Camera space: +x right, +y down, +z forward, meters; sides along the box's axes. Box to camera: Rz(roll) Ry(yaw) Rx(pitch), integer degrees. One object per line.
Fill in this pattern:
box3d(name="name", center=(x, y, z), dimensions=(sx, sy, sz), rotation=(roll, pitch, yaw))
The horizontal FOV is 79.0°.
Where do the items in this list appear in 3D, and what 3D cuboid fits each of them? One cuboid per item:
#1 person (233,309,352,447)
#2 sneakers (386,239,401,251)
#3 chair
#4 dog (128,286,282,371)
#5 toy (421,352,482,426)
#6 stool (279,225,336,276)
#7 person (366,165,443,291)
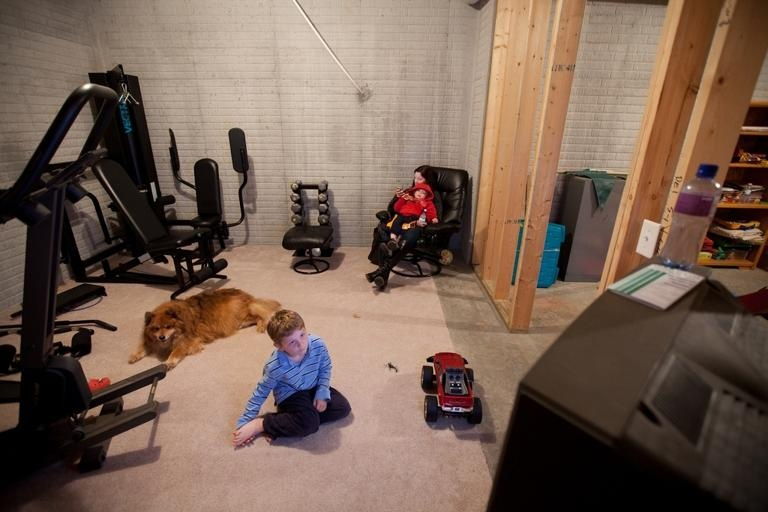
box3d(name="person", center=(-0.773, 1.053, 3.854), dimensions=(0.498, 0.801, 0.862), rotation=(15, 25, 40))
box3d(name="sneakers", center=(0.126, -0.124, 5.508), dimensions=(0.124, 0.127, 0.230), rotation=(15, 24, 29))
box3d(name="chair", center=(0.374, -0.477, 6.029), dimensions=(1.217, 1.312, 1.063), rotation=(-12, 27, -35))
box3d(name="dog", center=(-1.721, 0.609, 4.595), dimensions=(0.775, 0.372, 1.177), rotation=(0, 16, 29))
box3d(name="toy", center=(0.569, 1.091, 3.905), dimensions=(0.489, 0.415, 0.512), rotation=(2, 21, 0))
box3d(name="stool", center=(-0.947, -0.128, 6.040), dimensions=(0.637, 0.451, 0.771), rotation=(4, 22, 10))
box3d(name="person", center=(0.261, -0.374, 5.736), dimensions=(0.648, 1.282, 1.404), rotation=(17, 26, 32))
